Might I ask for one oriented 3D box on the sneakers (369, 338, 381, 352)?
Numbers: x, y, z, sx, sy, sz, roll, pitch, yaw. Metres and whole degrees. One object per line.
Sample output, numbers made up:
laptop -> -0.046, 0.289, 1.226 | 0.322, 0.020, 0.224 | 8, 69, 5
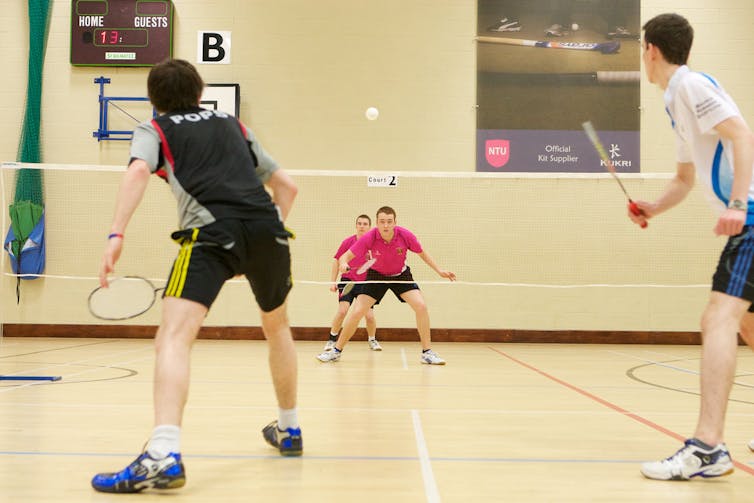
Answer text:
sneakers -> -0.037, 1.259, 10.507 | 0.139, 0.151, 0.393 | 0, -6, -8

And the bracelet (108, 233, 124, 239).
bracelet -> -1.964, -0.119, 5.835 | 0.096, 0.058, 0.093 | -3, 12, -19

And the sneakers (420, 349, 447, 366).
sneakers -> 0.642, 1.240, 9.174 | 0.315, 0.137, 0.122 | -2, -4, 39

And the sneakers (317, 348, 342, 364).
sneakers -> -0.556, 1.243, 9.315 | 0.346, 0.152, 0.119 | 1, -1, -24

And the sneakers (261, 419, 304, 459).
sneakers -> -0.756, 1.518, 6.233 | 0.154, 0.192, 0.403 | 1, 2, -25

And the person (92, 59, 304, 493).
person -> -1.311, 0.141, 5.984 | 1.500, 3.177, 0.897 | -4, 12, -19
